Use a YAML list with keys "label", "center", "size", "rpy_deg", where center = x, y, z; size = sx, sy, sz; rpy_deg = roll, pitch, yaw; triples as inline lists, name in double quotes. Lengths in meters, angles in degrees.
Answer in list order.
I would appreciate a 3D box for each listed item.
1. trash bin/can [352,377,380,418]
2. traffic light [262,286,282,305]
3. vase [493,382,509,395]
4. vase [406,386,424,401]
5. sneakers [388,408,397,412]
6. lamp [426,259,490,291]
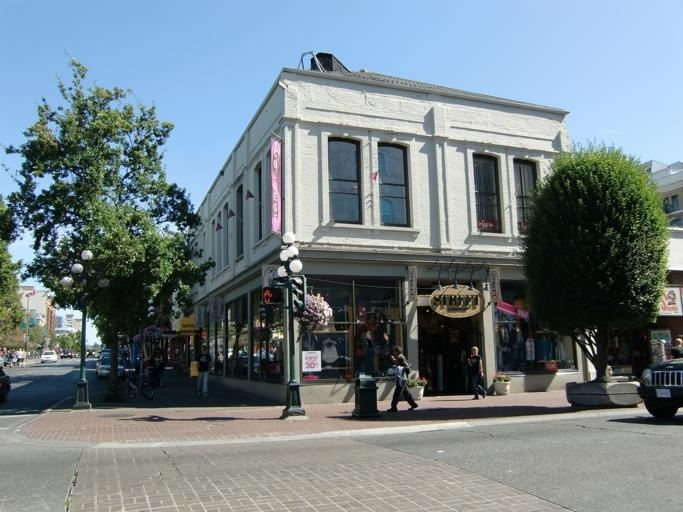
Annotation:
- label: "trash bin/can"
  center: [0.683, 4.270, 18.574]
  size: [0.998, 1.464, 1.012]
  rpy_deg: [1, -11, -9]
- label: "traffic light"
  center: [-2.151, 1.216, 19.263]
  size: [0.653, 0.629, 0.255]
  rpy_deg: [1, -6, -12]
- label: "vase"
  center: [6.208, 5.192, 24.008]
  size: [0.504, 0.355, 0.511]
  rpy_deg: [2, -14, -8]
- label: "vase"
  center: [2.717, 4.967, 22.490]
  size: [0.540, 0.409, 0.553]
  rpy_deg: [-1, -6, 3]
- label: "sneakers"
  center: [1.630, 4.876, 19.561]
  size: [0.276, 0.103, 0.377]
  rpy_deg: [-1, -10, 4]
- label: "lamp"
  center: [4.705, 0.694, 24.510]
  size: [2.610, 1.170, 0.718]
  rpy_deg: [3, -10, -20]
